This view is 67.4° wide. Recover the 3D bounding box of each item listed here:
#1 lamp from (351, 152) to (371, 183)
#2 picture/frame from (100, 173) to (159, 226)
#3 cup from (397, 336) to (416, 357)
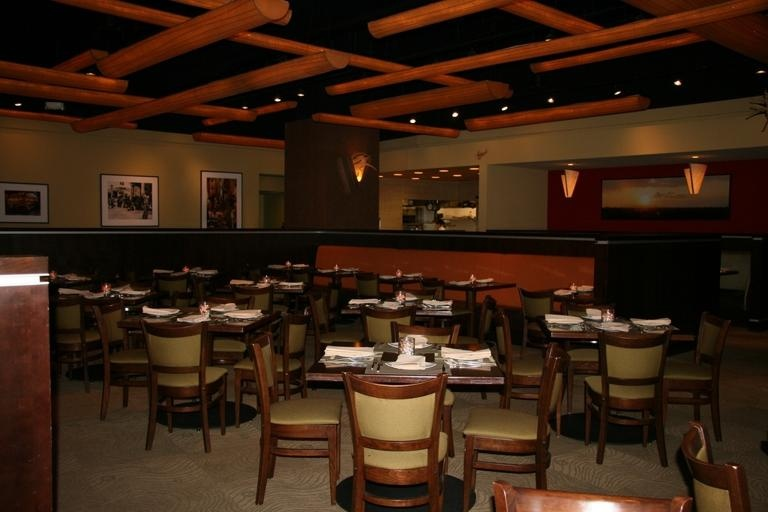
[{"bbox_3d":[-0.499,-2.024,13.172,0.120,0.645,0.485,4,7,40],"label":"lamp"},{"bbox_3d":[-6.104,-1.360,13.713,1.359,1.303,0.054,0,1,-40],"label":"picture/frame"},{"bbox_3d":[0.188,0.717,4.642,0.138,0.143,0.132,0,-1,0],"label":"cup"}]
